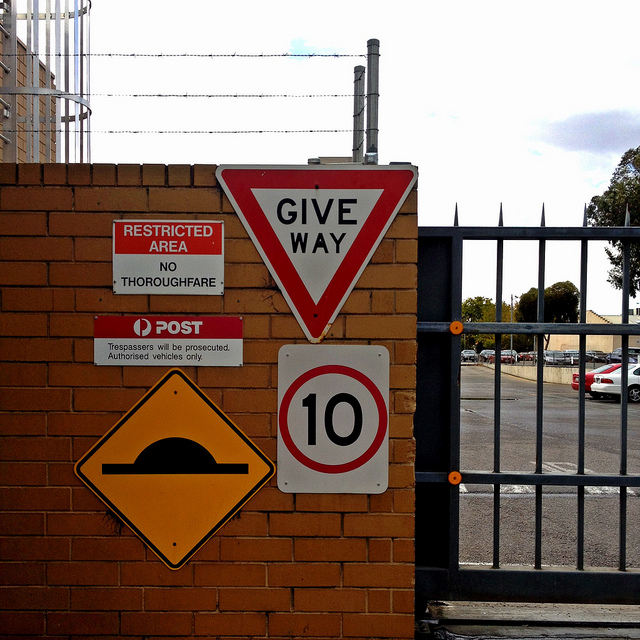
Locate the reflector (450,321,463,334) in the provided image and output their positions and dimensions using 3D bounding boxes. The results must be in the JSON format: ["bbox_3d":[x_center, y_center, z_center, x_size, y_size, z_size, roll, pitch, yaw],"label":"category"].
[{"bbox_3d":[0.851,0.061,9.248,0.080,0.076,0.028,4,-3,-22],"label":"reflector"}]

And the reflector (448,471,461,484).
[{"bbox_3d":[0.837,1.003,9.230,0.078,0.080,0.034,2,-3,5],"label":"reflector"}]
